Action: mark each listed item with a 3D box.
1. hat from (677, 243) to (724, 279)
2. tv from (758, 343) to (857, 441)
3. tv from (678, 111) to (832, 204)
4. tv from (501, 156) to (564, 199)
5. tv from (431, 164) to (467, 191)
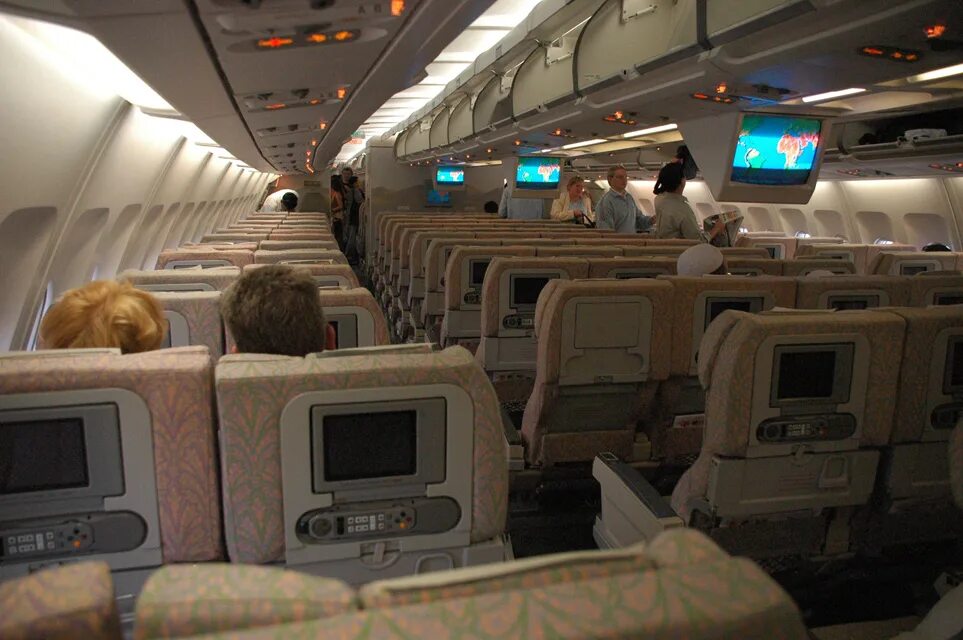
[{"bbox_3d":[1.537,-0.414,4.783,0.321,0.096,0.300,-9,14,-11],"label":"hat"},{"bbox_3d":[1.503,0.310,3.227,0.499,0.480,0.072,-2,23,-2],"label":"tv"},{"bbox_3d":[2.752,-1.626,7.206,1.264,0.841,0.957,-2,21,-9],"label":"tv"},{"bbox_3d":[1.204,-3.082,14.891,1.167,0.737,0.490,1,1,-22],"label":"tv"},{"bbox_3d":[-0.928,-4.048,19.676,1.236,0.810,0.643,-5,13,-28],"label":"tv"}]
